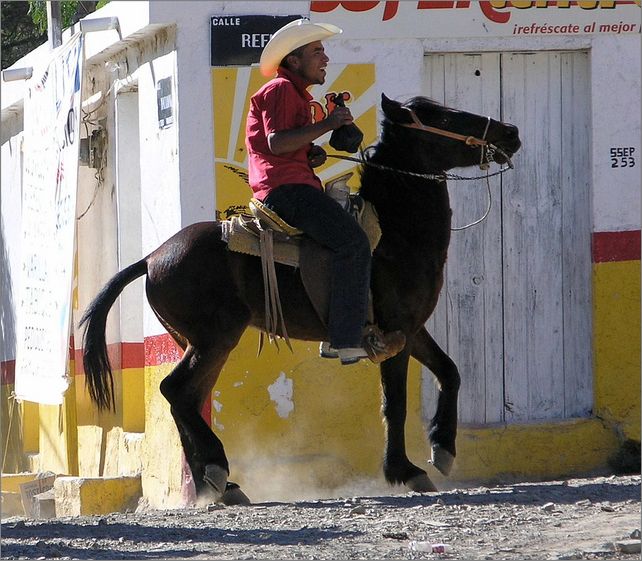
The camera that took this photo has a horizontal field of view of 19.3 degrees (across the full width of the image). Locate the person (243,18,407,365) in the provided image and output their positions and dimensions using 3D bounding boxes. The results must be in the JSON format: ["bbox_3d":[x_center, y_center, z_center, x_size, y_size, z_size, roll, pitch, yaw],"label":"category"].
[{"bbox_3d":[-0.012,-0.668,14.255,1.046,2.651,0.527,-3,3,1],"label":"person"}]

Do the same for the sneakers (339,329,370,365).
[{"bbox_3d":[0.255,0.534,14.233,0.225,0.242,0.208,-3,3,1],"label":"sneakers"}]

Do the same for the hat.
[{"bbox_3d":[-0.142,-1.845,14.298,0.479,0.196,0.391,-29,5,-34],"label":"hat"}]
